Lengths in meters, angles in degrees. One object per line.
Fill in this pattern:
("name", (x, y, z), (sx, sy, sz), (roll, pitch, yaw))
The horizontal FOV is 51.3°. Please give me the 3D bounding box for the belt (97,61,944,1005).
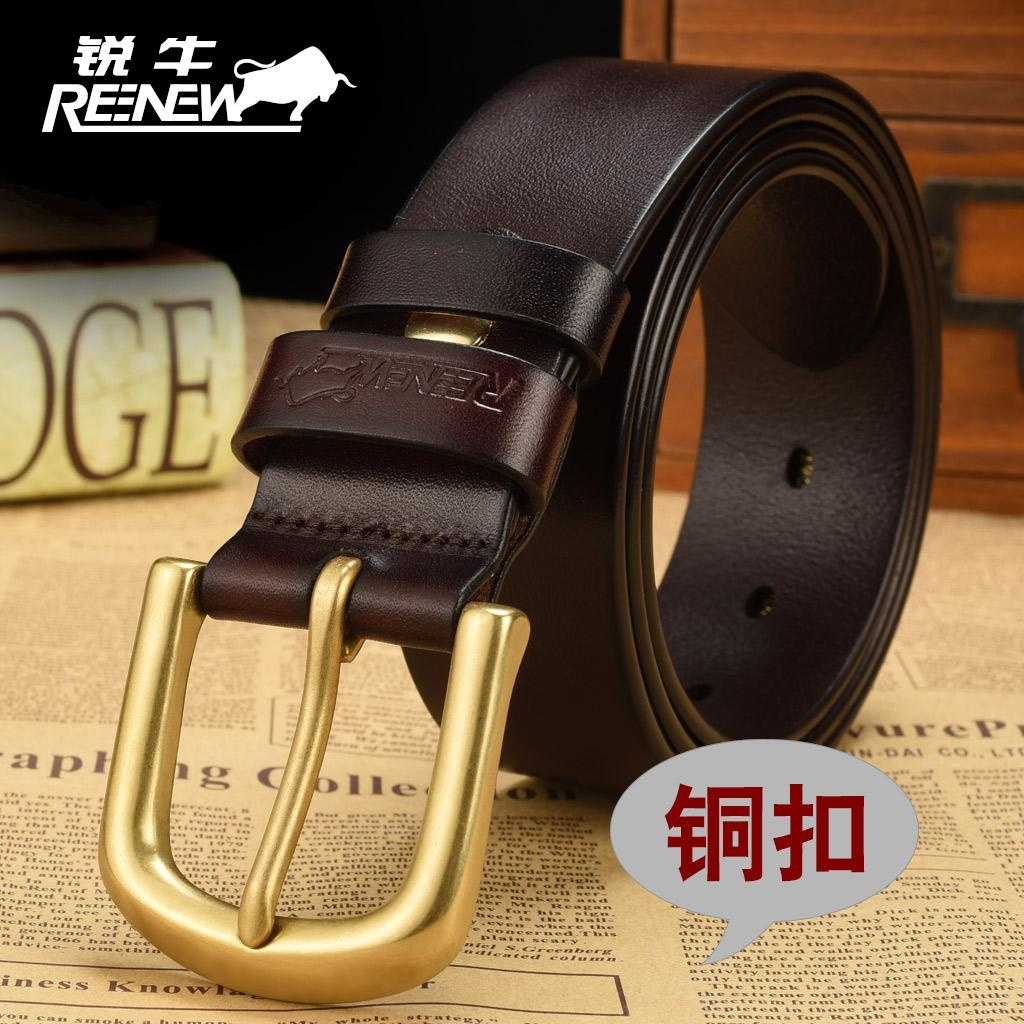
("belt", (0.071, -0.039, 0.680), (0.247, 0.427, 0.723), (6, 22, 36))
